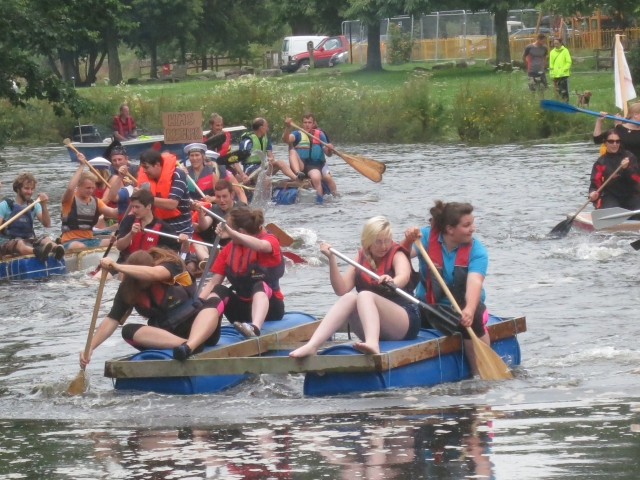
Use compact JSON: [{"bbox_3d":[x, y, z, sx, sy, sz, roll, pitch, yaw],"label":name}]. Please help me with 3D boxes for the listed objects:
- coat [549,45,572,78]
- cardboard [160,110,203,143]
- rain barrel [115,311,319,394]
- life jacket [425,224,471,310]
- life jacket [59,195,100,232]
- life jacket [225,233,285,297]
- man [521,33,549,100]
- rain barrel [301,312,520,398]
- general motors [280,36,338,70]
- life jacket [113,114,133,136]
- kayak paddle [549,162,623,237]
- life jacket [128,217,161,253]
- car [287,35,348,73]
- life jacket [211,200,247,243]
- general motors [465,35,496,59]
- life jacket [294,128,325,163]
[{"bbox_3d":[5.965,-4.485,29.342,0.466,0.799,0.569,-4,6,7],"label":"coat"},{"bbox_3d":[-2.612,-2.162,22.356,0.915,0.638,0.031,-8,12,-43],"label":"cardboard"},{"bbox_3d":[-1.023,1.430,13.482,2.606,0.787,0.780,-12,6,-42],"label":"rain barrel"},{"bbox_3d":[1.534,0.278,13.153,0.511,0.813,0.454,1,21,27],"label":"life jacket"},{"bbox_3d":[-3.662,-0.424,18.023,0.464,0.593,0.327,11,4,-28],"label":"life jacket"},{"bbox_3d":[-0.778,0.289,13.697,0.623,0.792,0.468,-11,-2,24],"label":"life jacket"},{"bbox_3d":[5.563,-4.461,30.373,0.649,1.759,0.547,1,13,18],"label":"man"},{"bbox_3d":[1.080,1.134,13.002,1.984,0.535,0.942,-6,-7,-44],"label":"rain barrel"},{"bbox_3d":[-0.729,-8.455,51.808,1.863,1.012,1.211,-5,8,-8],"label":"general motors"},{"bbox_3d":[-4.941,-2.905,29.566,0.622,0.571,0.320,-4,5,-34],"label":"life jacket"},{"bbox_3d":[4.365,-0.633,19.343,1.816,0.333,0.065,-42,-10,20],"label":"kayak paddle"},{"bbox_3d":[-2.287,-0.072,15.241,0.344,0.476,0.261,18,-2,17],"label":"life jacket"},{"bbox_3d":[-0.147,-8.267,51.923,2.518,1.292,1.495,-4,5,-24],"label":"car"},{"bbox_3d":[-1.153,-0.236,14.822,0.509,0.612,0.337,-9,-27,1],"label":"life jacket"},{"bbox_3d":[6.314,-7.770,46.917,1.086,0.695,1.078,2,28,14],"label":"general motors"},{"bbox_3d":[-0.221,-1.841,22.790,0.632,0.696,0.398,-3,2,-14],"label":"life jacket"}]
